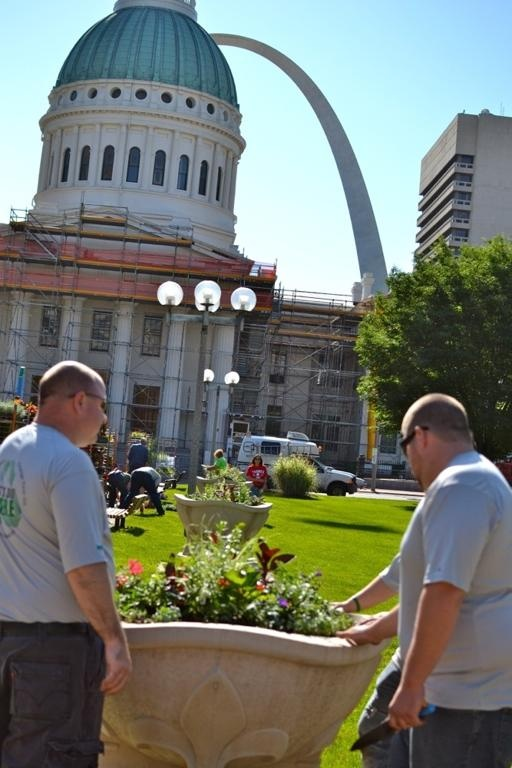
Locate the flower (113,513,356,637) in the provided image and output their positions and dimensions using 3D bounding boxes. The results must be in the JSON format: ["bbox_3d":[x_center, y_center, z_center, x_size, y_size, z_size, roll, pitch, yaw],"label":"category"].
[{"bbox_3d":[-0.088,0.885,3.430,0.660,0.244,0.652,5,-1,1],"label":"flower"}]

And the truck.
[{"bbox_3d":[1.997,3.765,36.851,6.803,3.153,2.870,-1,1,-5],"label":"truck"}]

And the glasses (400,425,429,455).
[{"bbox_3d":[0.561,0.183,2.583,0.031,0.095,0.099,15,-11,-38],"label":"glasses"}]

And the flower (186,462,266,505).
[{"bbox_3d":[-0.361,1.397,10.125,0.728,0.345,0.732,0,0,9],"label":"flower"}]

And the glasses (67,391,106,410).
[{"bbox_3d":[-0.645,0.054,2.770,0.079,0.075,0.025,3,-4,-34],"label":"glasses"}]
